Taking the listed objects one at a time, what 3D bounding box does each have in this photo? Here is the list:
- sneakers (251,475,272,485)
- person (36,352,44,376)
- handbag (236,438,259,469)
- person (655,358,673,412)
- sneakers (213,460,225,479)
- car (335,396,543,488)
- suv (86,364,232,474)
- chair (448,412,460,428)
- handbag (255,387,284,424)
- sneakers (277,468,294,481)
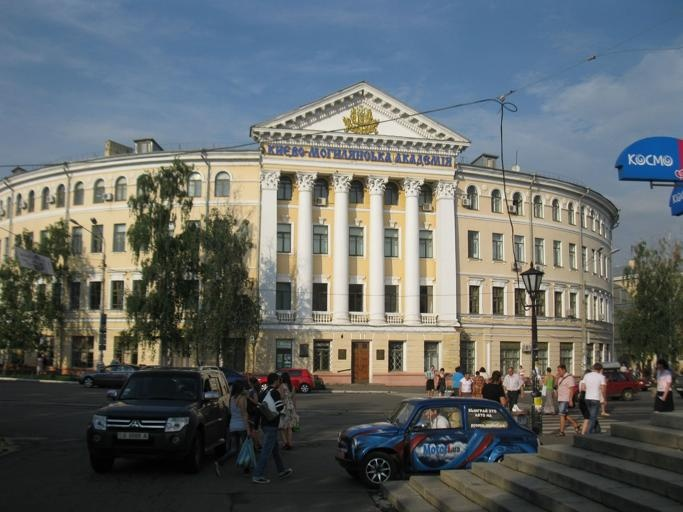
[{"bbox_3d":[-2.298,6.361,26.706,0.545,0.246,0.214,1,-2,-3],"label":"sneakers"},{"bbox_3d":[-21.329,7.563,66.049,0.539,1.446,1.985,4,-8,-18],"label":"person"},{"bbox_3d":[-2.799,5.736,27.287,0.562,0.920,0.804,2,-7,-5],"label":"handbag"},{"bbox_3d":[10.273,4.077,29.768,0.540,1.635,1.437,-1,-8,19],"label":"person"},{"bbox_3d":[-3.645,6.204,27.418,0.262,0.607,0.207,-1,9,5],"label":"sneakers"},{"bbox_3d":[2.685,5.332,27.397,4.382,1.864,2.798,1,-9,-4],"label":"car"},{"bbox_3d":[-5.229,4.740,27.879,2.399,1.976,4.208,-2,-14,5],"label":"suv"},{"bbox_3d":[3.222,4.676,26.700,0.382,0.357,0.354,4,-7,-44],"label":"chair"},{"bbox_3d":[-2.056,4.317,26.856,0.679,1.046,0.484,3,-8,-14],"label":"handbag"},{"bbox_3d":[-1.667,6.344,27.284,0.520,0.202,0.188,-18,23,-10],"label":"sneakers"}]
